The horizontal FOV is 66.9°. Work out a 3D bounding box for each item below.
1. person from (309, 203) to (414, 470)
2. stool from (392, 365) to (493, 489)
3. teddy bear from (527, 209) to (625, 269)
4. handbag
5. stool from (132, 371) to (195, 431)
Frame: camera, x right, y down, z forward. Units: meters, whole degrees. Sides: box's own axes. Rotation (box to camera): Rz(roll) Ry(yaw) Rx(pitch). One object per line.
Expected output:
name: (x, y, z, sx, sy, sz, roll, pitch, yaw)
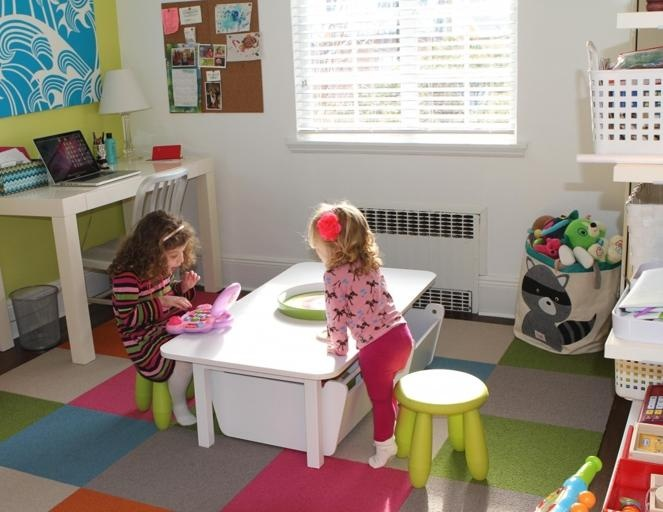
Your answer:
person: (0.104, 0.309, 1.951, 0.364, 0.985, 0.255, 8, 21, 29)
stool: (0.421, 0.660, 1.935, 0.329, 0.364, 0.359, 0, 10, 13)
teddy bear: (1.321, -0.078, 2.732, 0.428, 0.306, 0.322, 10, 16, 44)
handbag: (1.239, 0.248, 2.823, 0.493, 0.491, 0.500, -10, 23, -24)
stool: (-0.774, 0.638, 2.265, 0.220, 0.276, 0.220, -3, 3, -21)
